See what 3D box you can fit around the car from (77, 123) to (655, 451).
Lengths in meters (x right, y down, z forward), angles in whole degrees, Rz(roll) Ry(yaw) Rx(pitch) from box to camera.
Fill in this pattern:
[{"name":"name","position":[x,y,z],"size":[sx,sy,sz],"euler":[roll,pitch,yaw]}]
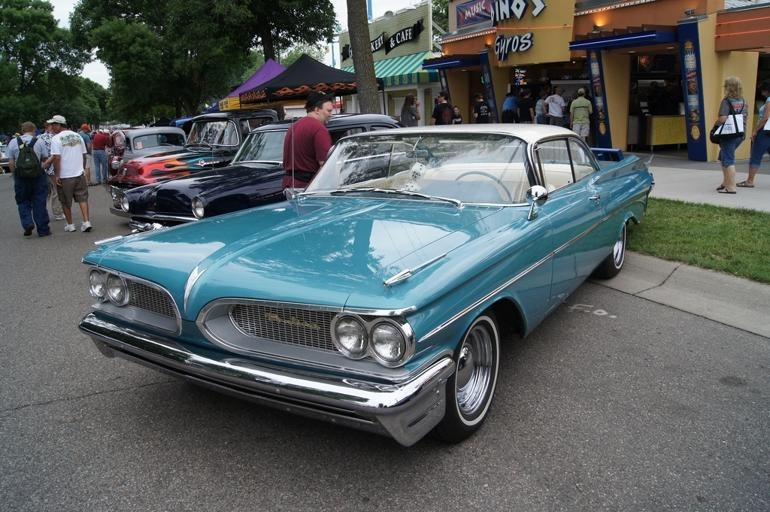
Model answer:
[{"name":"car","position":[0.029,0.044,3.965],"size":[4.303,2.202,2.398],"euler":[-15,18,-37]}]

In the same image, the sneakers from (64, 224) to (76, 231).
[{"name":"sneakers","position":[-6.796,-0.614,10.035],"size":[0.130,0.133,0.312],"euler":[-10,14,-32]}]

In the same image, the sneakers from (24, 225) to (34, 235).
[{"name":"sneakers","position":[-7.479,-0.521,9.758],"size":[0.365,0.153,0.133],"euler":[-11,-9,43]}]

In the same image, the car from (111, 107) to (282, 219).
[{"name":"car","position":[-3.742,-2.161,9.928],"size":[3.885,1.665,2.209],"euler":[-12,17,-31]}]

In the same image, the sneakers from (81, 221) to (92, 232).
[{"name":"sneakers","position":[-6.392,-0.629,9.966],"size":[0.143,0.156,0.372],"euler":[-11,15,-32]}]

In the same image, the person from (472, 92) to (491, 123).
[{"name":"person","position":[3.534,-5.437,16.971],"size":[0.475,1.014,1.134],"euler":[0,15,17]}]

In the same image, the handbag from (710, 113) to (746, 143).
[{"name":"handbag","position":[6.514,-2.435,8.793],"size":[0.559,0.494,0.399],"euler":[2,16,20]}]

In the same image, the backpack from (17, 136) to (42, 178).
[{"name":"backpack","position":[-7.197,-1.972,9.338],"size":[0.477,0.800,0.552],"euler":[-15,18,-35]}]

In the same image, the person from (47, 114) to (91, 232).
[{"name":"person","position":[-6.743,-1.768,9.955],"size":[1.002,2.410,0.891],"euler":[2,9,6]}]
